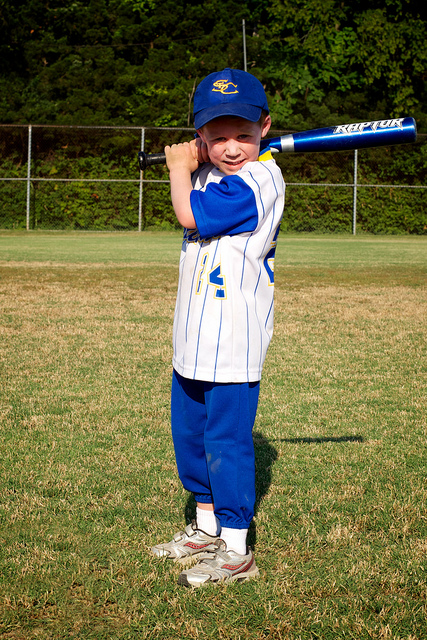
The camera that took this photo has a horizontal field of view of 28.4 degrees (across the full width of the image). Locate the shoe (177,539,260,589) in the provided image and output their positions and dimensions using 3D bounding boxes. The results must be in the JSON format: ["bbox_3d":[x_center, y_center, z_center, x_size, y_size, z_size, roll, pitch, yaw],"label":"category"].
[{"bbox_3d":[0.023,0.741,2.580,0.302,0.137,0.114,7,-5,-43],"label":"shoe"}]

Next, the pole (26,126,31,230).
[{"bbox_3d":[-4.278,-3.275,19.572,0.161,2.323,0.660,-2,6,-12],"label":"pole"}]

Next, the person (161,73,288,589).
[{"bbox_3d":[0.028,0.016,2.671,0.385,1.530,0.484,0,5,1],"label":"person"}]

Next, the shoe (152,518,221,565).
[{"bbox_3d":[-0.089,0.717,2.732,0.275,0.118,0.088,7,-7,-39],"label":"shoe"}]
